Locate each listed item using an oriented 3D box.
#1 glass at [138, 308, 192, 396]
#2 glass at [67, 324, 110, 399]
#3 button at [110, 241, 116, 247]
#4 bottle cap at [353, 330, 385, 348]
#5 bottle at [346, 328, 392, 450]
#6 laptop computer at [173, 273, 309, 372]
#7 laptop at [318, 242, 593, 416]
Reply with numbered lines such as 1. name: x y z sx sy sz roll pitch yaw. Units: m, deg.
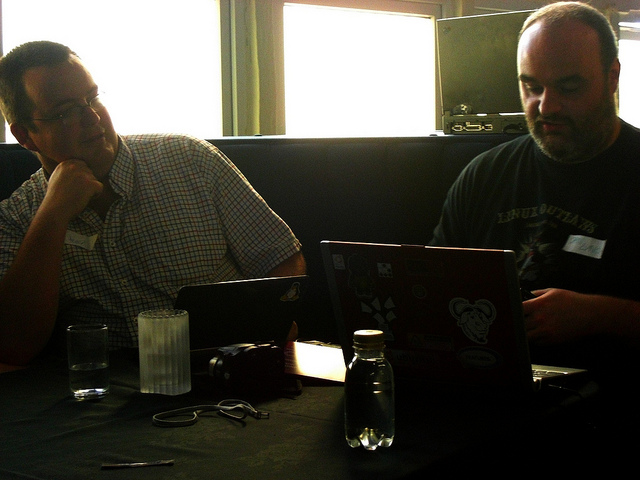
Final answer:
1. glass: -0.329 0.238 1.228 0.126 0.177 0.100 -6 11 -27
2. glass: -0.491 0.262 1.213 0.080 0.135 0.085 -5 10 -22
3. button: -0.698 0.014 1.912 0.016 0.020 0.006 -8 11 -34
4. bottle cap: 0.089 0.167 1.021 0.049 0.027 0.098 0 10 9
5. bottle: 0.084 0.257 0.982 0.079 0.192 0.065 -1 9 4
6. laptop computer: -0.159 0.191 1.362 0.338 0.205 0.132 -9 12 -38
7. laptop: 0.301 0.116 1.234 0.438 0.275 0.395 -3 -3 41
